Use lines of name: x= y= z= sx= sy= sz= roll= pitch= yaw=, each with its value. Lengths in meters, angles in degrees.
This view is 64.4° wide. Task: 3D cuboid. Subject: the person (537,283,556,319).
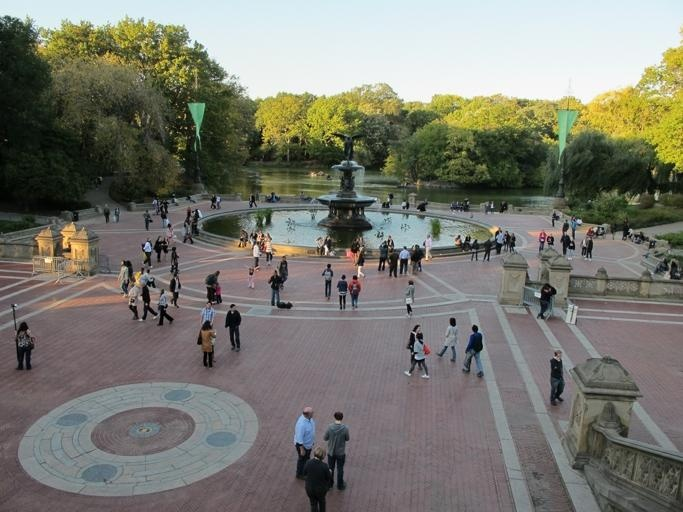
person: x=8.189 y=1.764 z=21.513 sx=0.548 sy=1.388 sz=0.637 roll=6 pitch=13 yaw=22

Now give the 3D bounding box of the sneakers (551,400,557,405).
sneakers: x=5.950 y=4.079 z=15.096 sx=0.156 sy=0.161 sz=0.071 roll=1 pitch=10 yaw=43

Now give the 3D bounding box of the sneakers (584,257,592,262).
sneakers: x=15.012 y=0.225 z=32.810 sx=0.475 sy=0.219 sz=0.203 roll=-3 pitch=6 yaw=-31

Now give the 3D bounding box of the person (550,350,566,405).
person: x=6.095 y=3.338 z=15.188 sx=0.395 sy=1.470 sz=0.628 roll=6 pitch=13 yaw=24

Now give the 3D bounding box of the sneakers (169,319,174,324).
sneakers: x=-6.339 y=2.366 z=20.144 sx=0.115 sy=0.203 sz=0.348 roll=-2 pitch=13 yaw=-14

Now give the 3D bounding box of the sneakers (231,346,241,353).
sneakers: x=-3.523 y=3.047 z=17.900 sx=0.344 sy=0.124 sz=0.230 roll=4 pitch=12 yaw=13

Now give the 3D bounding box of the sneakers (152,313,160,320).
sneakers: x=-6.977 y=2.256 z=20.307 sx=0.173 sy=0.218 sz=0.496 roll=-6 pitch=-9 yaw=35

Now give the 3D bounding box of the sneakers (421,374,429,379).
sneakers: x=2.566 y=3.646 z=16.502 sx=0.233 sy=0.109 sz=0.082 roll=6 pitch=13 yaw=35

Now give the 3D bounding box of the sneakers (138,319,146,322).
sneakers: x=-7.475 y=2.352 z=20.183 sx=0.145 sy=0.081 sz=0.314 roll=-5 pitch=14 yaw=-28

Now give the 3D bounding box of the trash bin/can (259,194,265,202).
trash bin/can: x=-8.327 y=-6.060 z=57.346 sx=0.639 sy=0.909 sz=0.896 roll=-2 pitch=9 yaw=-5

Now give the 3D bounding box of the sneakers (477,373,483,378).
sneakers: x=4.275 y=3.607 z=16.586 sx=0.094 sy=0.150 sz=0.204 roll=-4 pitch=12 yaw=-13

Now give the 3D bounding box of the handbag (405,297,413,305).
handbag: x=2.643 y=1.761 z=21.233 sx=0.309 sy=0.253 sz=0.321 roll=-1 pitch=3 yaw=10

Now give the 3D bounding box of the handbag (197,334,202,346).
handbag: x=-4.361 y=2.498 z=16.581 sx=0.131 sy=0.336 sz=0.317 roll=-3 pitch=12 yaw=-17

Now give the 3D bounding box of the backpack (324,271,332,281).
backpack: x=-0.583 y=0.819 z=23.388 sx=0.342 sy=0.439 sz=0.256 roll=-1 pitch=12 yaw=-11

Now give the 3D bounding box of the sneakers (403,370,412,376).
sneakers: x=2.039 y=3.558 z=16.632 sx=0.086 sy=0.107 sz=0.236 roll=-15 pitch=14 yaw=-20
